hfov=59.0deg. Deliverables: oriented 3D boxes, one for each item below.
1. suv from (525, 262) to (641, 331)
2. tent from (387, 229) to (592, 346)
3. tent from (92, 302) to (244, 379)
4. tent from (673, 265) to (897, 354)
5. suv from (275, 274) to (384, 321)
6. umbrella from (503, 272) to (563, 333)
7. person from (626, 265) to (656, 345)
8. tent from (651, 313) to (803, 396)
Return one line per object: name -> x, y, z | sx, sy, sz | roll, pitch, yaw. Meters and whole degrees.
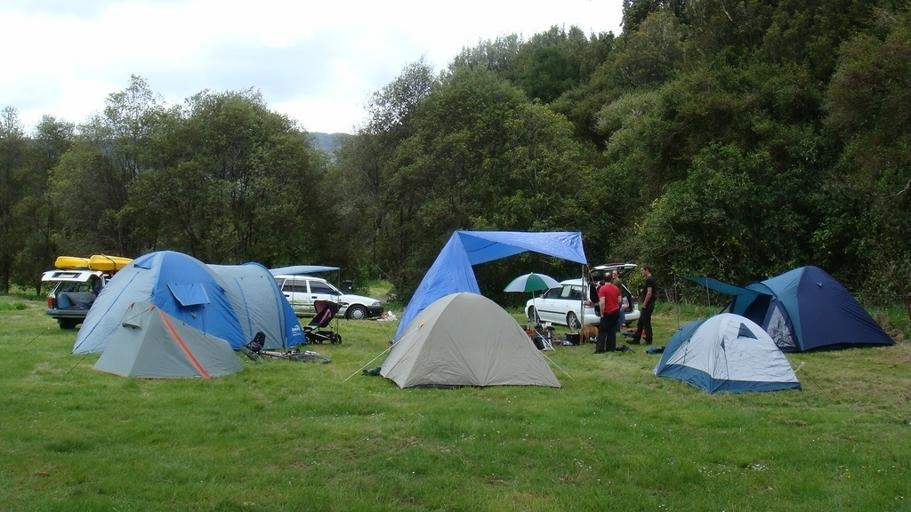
suv -> 5.887, 1.978, 38.789 | 2.992, 2.092, 4.878 | -3, 5, -35
tent -> 1.486, 0.124, 35.454 | 6.010, 2.937, 5.974 | -7, -13, -46
tent -> -11.631, 3.461, 32.405 | 3.720, 3.094, 4.823 | 1, -2, -20
tent -> 12.067, 2.457, 35.621 | 5.153, 5.380, 12.348 | 1, -2, -10
suv -> -5.522, 2.311, 45.120 | 7.908, 3.077, 3.632 | -3, -3, 32
umbrella -> 3.769, 2.241, 39.005 | 2.547, 2.644, 2.352 | -1, 3, 1
person -> 8.208, 2.274, 35.176 | 1.004, 3.532, 1.217 | -1, 0, 37
tent -> 11.057, 4.025, 32.275 | 4.098, 3.269, 5.407 | 1, -2, -11
